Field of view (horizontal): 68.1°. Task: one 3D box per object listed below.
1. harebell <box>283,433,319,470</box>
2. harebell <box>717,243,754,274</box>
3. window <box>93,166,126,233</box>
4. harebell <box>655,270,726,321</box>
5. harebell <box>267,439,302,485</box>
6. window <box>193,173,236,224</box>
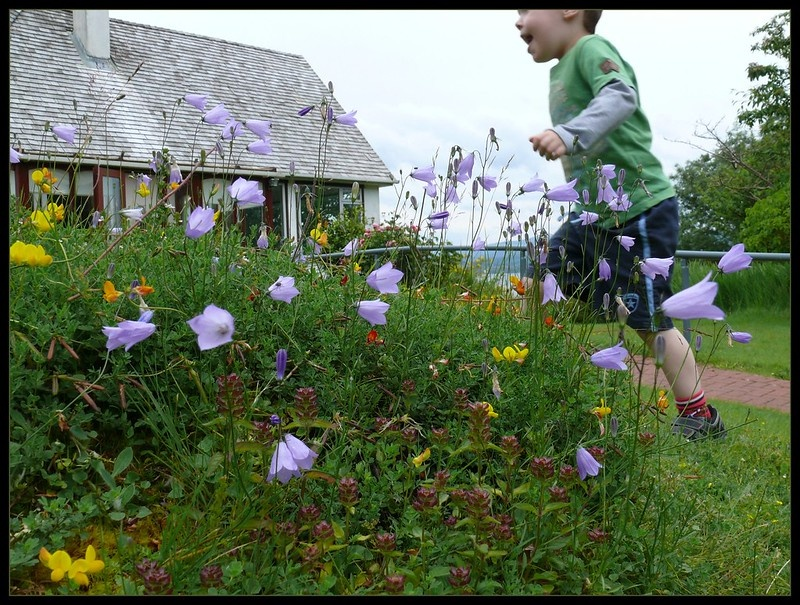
[{"bbox_3d":[-0.267,0.409,1.618,0.061,0.050,0.112,-34,69,-19],"label":"harebell"},{"bbox_3d":[1.064,-0.150,1.886,0.074,0.108,0.112,-2,-14,25],"label":"harebell"},{"bbox_3d":[-2.422,-0.794,4.986,0.037,0.678,0.234,-15,-11,36],"label":"window"},{"bbox_3d":[0.730,-0.019,1.484,0.134,0.126,0.196,6,8,25],"label":"harebell"},{"bbox_3d":[-0.316,0.426,1.600,0.082,0.069,0.149,30,31,-45],"label":"harebell"},{"bbox_3d":[-0.835,-0.484,2.779,0.183,0.281,0.142,-5,-3,41],"label":"window"}]
